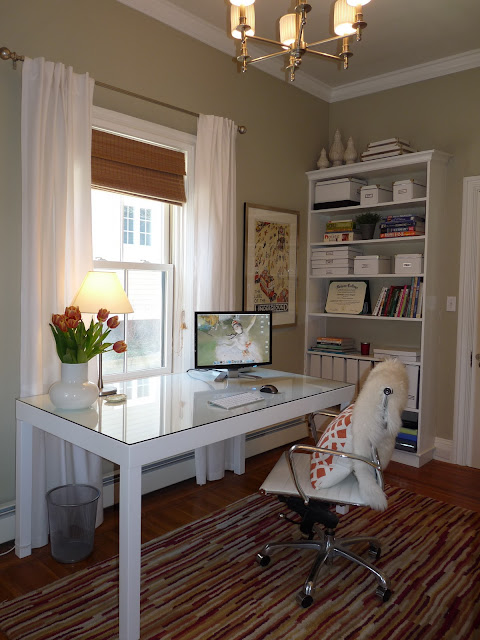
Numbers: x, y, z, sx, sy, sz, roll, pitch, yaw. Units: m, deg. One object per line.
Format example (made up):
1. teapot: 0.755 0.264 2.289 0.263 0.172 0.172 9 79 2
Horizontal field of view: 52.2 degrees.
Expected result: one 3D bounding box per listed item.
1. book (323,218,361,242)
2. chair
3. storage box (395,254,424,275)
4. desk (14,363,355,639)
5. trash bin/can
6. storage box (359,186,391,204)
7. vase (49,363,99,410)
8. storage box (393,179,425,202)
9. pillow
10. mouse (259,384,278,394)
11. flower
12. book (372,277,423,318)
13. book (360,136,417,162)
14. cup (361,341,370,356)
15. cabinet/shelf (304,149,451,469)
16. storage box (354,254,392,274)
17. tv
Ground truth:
1. book: 0.790 -0.730 3.754 0.169 0.204 0.299 -5 8 -42
2. chair: 0.361 0.597 1.964 0.624 0.855 0.606 1 3 -32
3. storage box: 1.128 -0.374 3.309 0.128 0.168 0.232 -6 8 -41
4. desk: -0.351 0.432 1.958 0.707 0.687 1.338 5 9 40
5. trash bin/can: -0.707 0.839 2.120 0.260 0.280 0.264 0 6 -25
6. storage box: 0.970 -0.937 3.533 0.136 0.161 0.255 6 12 38
7. vase: -0.627 0.245 1.903 0.171 0.170 0.175 0 -1 17
8. storage box: 1.156 -0.868 3.360 0.174 0.106 0.169 -10 15 -42
9. pillow: 0.370 0.470 1.860 0.166 0.221 0.318 9 19 -1
10. mouse: 0.143 0.318 2.254 0.062 0.021 0.037 1 2 41
11. flower: -0.645 0.060 1.985 0.234 0.214 0.222 3 0 -40
12. book: 1.100 -0.146 3.390 0.133 0.270 0.392 0 3 -29
13. book: 1.025 -1.171 3.415 0.345 0.144 0.233 2 2 18
14. cup: 0.946 0.223 3.700 0.087 0.130 0.084 1 -2 0
15. cabinet/shelf: 1.122 -0.303 3.627 0.295 1.915 0.878 -4 -10 -32
16. storage box: 0.961 -0.391 3.588 0.172 0.108 0.178 3 7 35
17. tv: -0.021 0.145 2.688 0.447 0.356 0.138 -3 -3 16
